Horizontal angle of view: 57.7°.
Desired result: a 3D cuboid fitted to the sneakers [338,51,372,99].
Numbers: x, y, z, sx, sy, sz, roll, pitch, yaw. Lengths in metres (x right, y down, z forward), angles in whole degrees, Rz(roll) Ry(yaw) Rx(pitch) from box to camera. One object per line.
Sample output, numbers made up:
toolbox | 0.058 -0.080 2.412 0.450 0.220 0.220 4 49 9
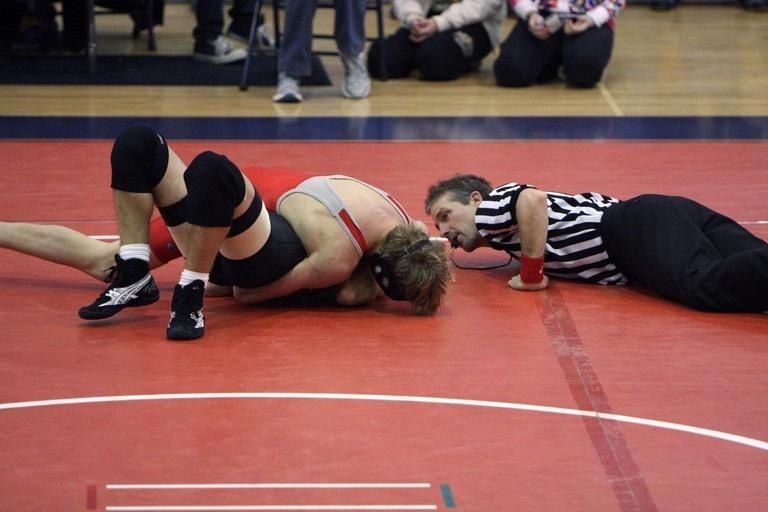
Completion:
sneakers | -0.184 -1.252 5.000 0.183 0.384 0.264 -8 -16 5

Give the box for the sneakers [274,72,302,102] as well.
sneakers | -0.666 -1.169 4.851 0.202 0.180 0.196 1 24 -5

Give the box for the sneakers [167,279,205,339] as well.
sneakers | -0.633 0.188 2.308 0.092 0.109 0.262 0 8 -1

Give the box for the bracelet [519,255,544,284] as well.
bracelet | 0.573 0.055 2.679 0.112 0.098 0.082 1 8 -4

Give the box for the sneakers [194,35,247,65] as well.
sneakers | -1.267 -1.652 5.578 0.477 0.192 0.207 3 26 8
